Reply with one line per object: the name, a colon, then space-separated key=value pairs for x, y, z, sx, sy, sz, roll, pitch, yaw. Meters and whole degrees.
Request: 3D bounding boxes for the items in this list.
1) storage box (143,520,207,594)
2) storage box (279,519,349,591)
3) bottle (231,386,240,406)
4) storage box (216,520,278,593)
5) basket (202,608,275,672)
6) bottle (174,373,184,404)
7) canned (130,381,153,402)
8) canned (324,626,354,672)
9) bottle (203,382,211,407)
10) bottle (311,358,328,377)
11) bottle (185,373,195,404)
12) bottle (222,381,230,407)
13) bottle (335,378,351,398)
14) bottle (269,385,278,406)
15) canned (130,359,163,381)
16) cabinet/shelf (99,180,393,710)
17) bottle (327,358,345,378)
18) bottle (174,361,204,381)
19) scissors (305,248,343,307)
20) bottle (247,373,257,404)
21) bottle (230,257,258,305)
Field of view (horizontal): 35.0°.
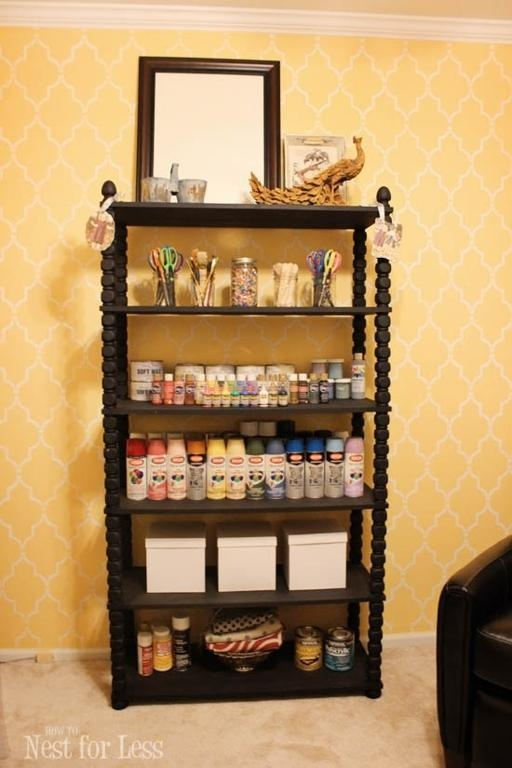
storage box: x=-0.268 y=0.584 z=2.699 sx=0.194 sy=0.143 sz=0.199 roll=0 pitch=0 yaw=-3
storage box: x=0.198 y=0.578 z=2.755 sx=0.206 sy=0.171 sz=0.198 roll=0 pitch=-1 yaw=-4
bottle: x=-0.064 y=0.040 z=2.540 sx=0.029 sy=0.054 sz=0.041 roll=3 pitch=37 yaw=-11
storage box: x=-0.033 y=0.589 z=2.707 sx=0.187 sy=0.138 sz=0.196 roll=0 pitch=0 yaw=-3
basket: x=-0.080 y=0.839 z=2.724 sx=0.291 sy=0.096 sz=0.292 roll=-6 pitch=13 yaw=5
bottle: x=-0.243 y=0.031 z=2.576 sx=0.037 sy=0.054 sz=0.060 roll=5 pitch=37 yaw=-9
canned: x=-0.383 y=0.027 z=2.671 sx=0.069 sy=0.048 sz=0.069 roll=3 pitch=2 yaw=35
canned: x=0.301 y=0.901 z=2.748 sx=0.114 sy=0.121 sz=0.111 roll=0 pitch=-4 yaw=9
bottle: x=-0.149 y=0.034 z=2.534 sx=0.028 sy=0.063 sz=0.057 roll=5 pitch=37 yaw=-9
bottle: x=0.216 y=-0.051 z=2.720 sx=0.065 sy=0.062 sz=0.062 roll=0 pitch=-1 yaw=-7
bottle: x=-0.210 y=0.021 z=2.584 sx=0.033 sy=0.063 sz=0.078 roll=4 pitch=37 yaw=-11
bottle: x=-0.093 y=0.033 z=2.540 sx=0.028 sy=0.063 sz=0.049 roll=2 pitch=38 yaw=-13
bottle: x=0.287 y=0.017 z=2.749 sx=0.065 sy=0.061 sz=0.062 roll=1 pitch=-1 yaw=2
bottle: x=0.055 y=0.035 z=2.564 sx=0.031 sy=0.057 sz=0.051 roll=5 pitch=37 yaw=-9
canned: x=-0.370 y=-0.043 z=2.675 sx=0.073 sy=0.044 sz=0.073 roll=5 pitch=5 yaw=42
cabinet/shelf: x=0.012 y=0.177 z=2.691 sx=1.088 sy=1.545 sz=1.200 roll=3 pitch=37 yaw=-11
bottle: x=0.269 y=-0.047 z=2.753 sx=0.063 sy=0.063 sz=0.061 roll=0 pitch=0 yaw=4
bottle: x=-0.210 y=-0.038 z=2.630 sx=0.068 sy=0.047 sz=0.067 roll=0 pitch=-2 yaw=0
scissors: x=0.212 y=-0.337 z=2.636 sx=0.103 sy=0.182 sz=0.220 roll=7 pitch=36 yaw=-6
bottle: x=-0.013 y=0.023 z=2.551 sx=0.036 sy=0.075 sz=0.068 roll=6 pitch=37 yaw=-8
bottle: x=-0.037 y=-0.325 z=2.623 sx=0.096 sy=0.156 sz=0.092 roll=0 pitch=12 yaw=0
